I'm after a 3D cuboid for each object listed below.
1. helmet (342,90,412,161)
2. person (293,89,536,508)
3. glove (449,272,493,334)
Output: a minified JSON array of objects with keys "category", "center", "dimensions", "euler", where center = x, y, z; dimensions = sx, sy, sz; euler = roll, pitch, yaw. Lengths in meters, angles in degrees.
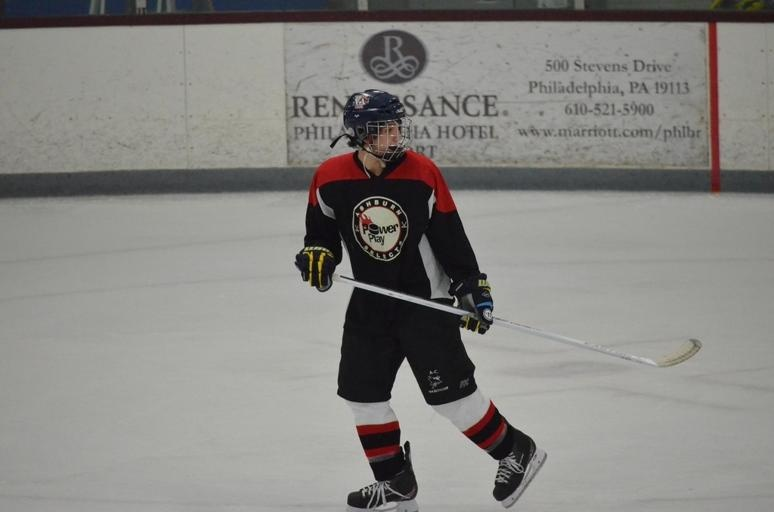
[{"category":"helmet","center":[-0.106,-0.883,9.171],"dimensions":[0.502,0.444,0.395],"euler":[-4,-1,25]},{"category":"person","center":[0.179,0.324,8.981],"dimensions":[1.453,2.757,0.609],"euler":[1,11,-4]},{"category":"glove","center":[0.567,0.308,8.997],"dimensions":[0.295,0.384,0.169],"euler":[4,11,13]}]
